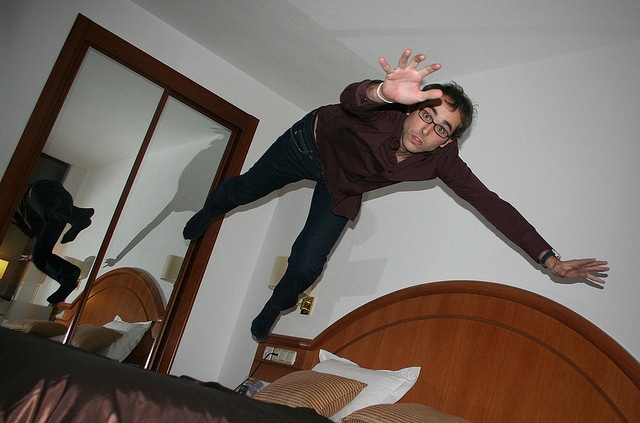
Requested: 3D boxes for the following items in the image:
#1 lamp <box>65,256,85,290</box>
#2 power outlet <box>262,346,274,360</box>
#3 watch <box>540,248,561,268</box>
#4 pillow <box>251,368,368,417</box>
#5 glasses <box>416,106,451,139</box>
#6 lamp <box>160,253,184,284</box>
[{"bbox_3d":[-2.141,0.528,3.251,0.156,0.200,0.178,34,18,-42],"label":"lamp"},{"bbox_3d":[-0.483,1.310,3.504,0.031,0.108,0.118,19,-3,-40],"label":"power outlet"},{"bbox_3d":[1.334,0.256,2.181,0.049,0.090,0.118,-16,-7,-37],"label":"watch"},{"bbox_3d":[-0.022,1.052,2.235,0.374,0.114,0.356,2,3,40],"label":"pillow"},{"bbox_3d":[0.717,-0.548,2.336,0.228,0.135,0.042,17,-10,-12],"label":"glasses"},{"bbox_3d":[-1.429,0.555,3.741,0.232,0.259,0.231,17,-6,1],"label":"lamp"}]
